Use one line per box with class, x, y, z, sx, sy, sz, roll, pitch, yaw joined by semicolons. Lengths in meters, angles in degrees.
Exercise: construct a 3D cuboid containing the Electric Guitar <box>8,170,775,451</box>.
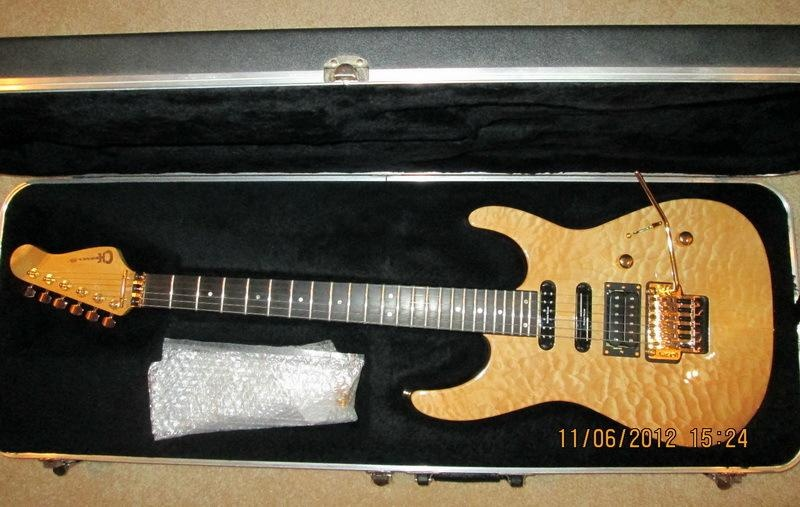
Electric Guitar;0.037;0.273;3.352;3.249;0.968;0.330;4;-7;5
